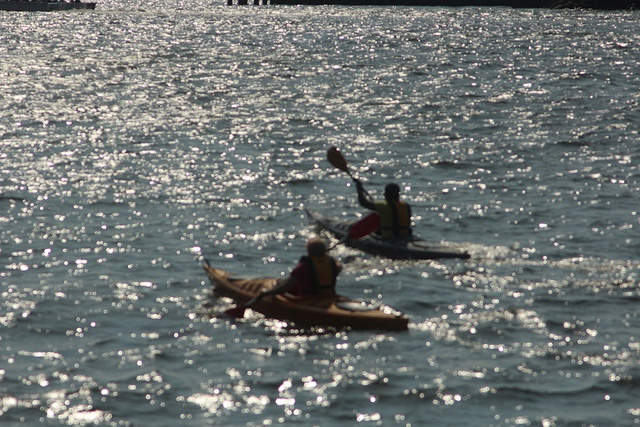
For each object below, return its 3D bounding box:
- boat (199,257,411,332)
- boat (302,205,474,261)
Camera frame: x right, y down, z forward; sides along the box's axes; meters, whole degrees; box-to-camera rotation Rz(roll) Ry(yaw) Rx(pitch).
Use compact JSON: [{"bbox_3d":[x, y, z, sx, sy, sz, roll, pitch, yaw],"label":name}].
[{"bbox_3d":[-0.318,3.489,72.800,9.752,1.308,2.696,9,7,17],"label":"boat"},{"bbox_3d":[2.060,1.195,76.049,9.487,0.965,2.128,8,5,21],"label":"boat"}]
